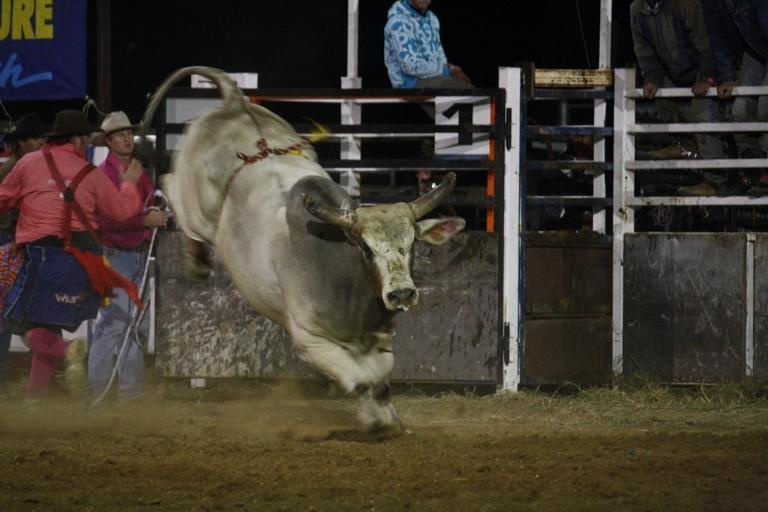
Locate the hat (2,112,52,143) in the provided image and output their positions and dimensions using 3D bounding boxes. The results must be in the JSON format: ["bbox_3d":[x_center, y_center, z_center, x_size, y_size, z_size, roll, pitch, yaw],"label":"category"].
[{"bbox_3d":[-4.108,-1.456,14.405,0.570,0.218,0.444,-14,10,-41],"label":"hat"}]

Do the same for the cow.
[{"bbox_3d":[-0.784,-0.132,12.265,2.698,3.598,0.994,-2,-3,32],"label":"cow"}]

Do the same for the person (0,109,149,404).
[{"bbox_3d":[-3.446,-0.042,13.503,1.446,3.087,0.362,0,-2,-1],"label":"person"}]

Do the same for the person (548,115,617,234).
[{"bbox_3d":[2.456,-1.041,14.410,0.274,1.166,1.173,2,10,-12],"label":"person"}]

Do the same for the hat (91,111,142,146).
[{"bbox_3d":[-2.999,-1.410,13.903,0.456,0.213,0.538,-12,-5,-13],"label":"hat"}]
